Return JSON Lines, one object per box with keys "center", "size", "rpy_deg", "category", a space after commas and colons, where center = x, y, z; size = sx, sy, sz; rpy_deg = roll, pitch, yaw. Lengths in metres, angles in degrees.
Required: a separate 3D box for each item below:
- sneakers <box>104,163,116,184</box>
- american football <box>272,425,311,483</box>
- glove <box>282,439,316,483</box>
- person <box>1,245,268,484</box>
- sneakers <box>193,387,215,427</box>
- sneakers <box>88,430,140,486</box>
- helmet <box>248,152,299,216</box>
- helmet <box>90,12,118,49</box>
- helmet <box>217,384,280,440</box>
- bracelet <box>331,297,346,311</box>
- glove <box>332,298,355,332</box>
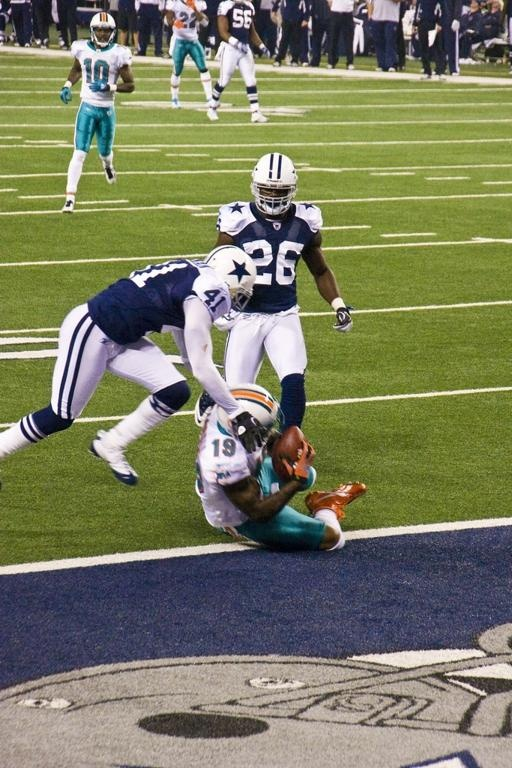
{"center": [-1.497, -2.151, 13.549], "size": [0.103, 0.120, 0.285], "rpy_deg": [14, -29, 2], "category": "sneakers"}
{"center": [0.138, 0.252, 5.125], "size": [0.117, 0.199, 0.150], "rpy_deg": [-31, 64, -27], "category": "american football"}
{"center": [0.182, 0.295, 5.086], "size": [0.066, 0.145, 0.106], "rpy_deg": [10, 25, -32], "category": "glove"}
{"center": [-0.488, -0.020, 5.297], "size": [1.130, 0.919, 0.457], "rpy_deg": [4, 10, 15], "category": "person"}
{"center": [-0.204, 0.071, 5.283], "size": [0.058, 0.174, 0.073], "rpy_deg": [14, -16, -6], "category": "sneakers"}
{"center": [-0.614, 0.353, 5.614], "size": [0.102, 0.135, 0.309], "rpy_deg": [-6, -23, 14], "category": "sneakers"}
{"center": [0.089, -0.966, 6.227], "size": [0.212, 0.262, 0.298], "rpy_deg": [2, 25, -3], "category": "helmet"}
{"center": [-1.431, -3.289, 12.413], "size": [0.259, 0.311, 0.346], "rpy_deg": [-1, 18, -9], "category": "helmet"}
{"center": [0.000, 0.065, 5.275], "size": [0.184, 0.203, 0.230], "rpy_deg": [-20, 23, -39], "category": "helmet"}
{"center": [0.395, -0.379, 6.381], "size": [0.048, 0.038, 0.082], "rpy_deg": [-1, 10, 2], "category": "bracelet"}
{"center": [0.404, -0.344, 6.368], "size": [0.078, 0.098, 0.228], "rpy_deg": [-15, 37, -1], "category": "glove"}
